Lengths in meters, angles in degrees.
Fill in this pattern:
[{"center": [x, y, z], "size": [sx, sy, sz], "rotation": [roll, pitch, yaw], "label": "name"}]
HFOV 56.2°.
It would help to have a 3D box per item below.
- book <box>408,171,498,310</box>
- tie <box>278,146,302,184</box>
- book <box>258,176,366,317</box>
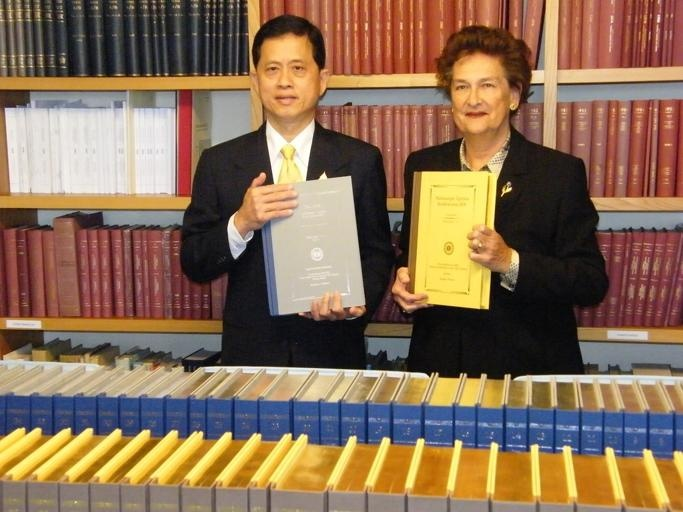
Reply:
[{"center": [0.329, -0.048, 1.938], "size": [0.300, 0.389, 0.109], "rotation": [2, 2, 33], "label": "book"}, {"center": [-0.170, -0.273, 2.028], "size": [0.083, 0.139, 0.038], "rotation": [-5, -17, 10], "label": "tie"}, {"center": [-0.080, -0.028, 1.843], "size": [0.271, 0.389, 0.040], "rotation": [-2, 13, -2], "label": "book"}]
